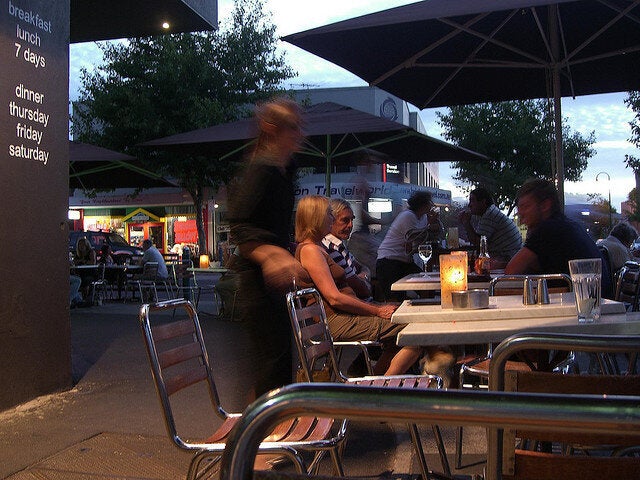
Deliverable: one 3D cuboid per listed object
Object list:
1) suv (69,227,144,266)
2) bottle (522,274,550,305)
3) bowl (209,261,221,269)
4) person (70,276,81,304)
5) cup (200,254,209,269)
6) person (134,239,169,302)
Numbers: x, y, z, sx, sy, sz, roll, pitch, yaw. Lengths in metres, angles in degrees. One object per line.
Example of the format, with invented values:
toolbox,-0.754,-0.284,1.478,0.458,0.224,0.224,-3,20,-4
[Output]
suv,-7.414,0.239,20.752,2.962,1.637,1.605,0,0,-5
bottle,1.296,0.304,3.569,0.129,0.193,0.147,-2,-5,8
bowl,-2.327,0.571,13.060,0.266,0.212,0.301,1,0,-1
person,-5.510,1.160,13.312,0.190,0.711,0.973,-2,4,-22
cup,-2.157,0.427,11.013,0.188,0.266,0.202,0,1,0
person,-3.859,0.795,13.688,0.652,1.517,1.999,-1,3,-16
